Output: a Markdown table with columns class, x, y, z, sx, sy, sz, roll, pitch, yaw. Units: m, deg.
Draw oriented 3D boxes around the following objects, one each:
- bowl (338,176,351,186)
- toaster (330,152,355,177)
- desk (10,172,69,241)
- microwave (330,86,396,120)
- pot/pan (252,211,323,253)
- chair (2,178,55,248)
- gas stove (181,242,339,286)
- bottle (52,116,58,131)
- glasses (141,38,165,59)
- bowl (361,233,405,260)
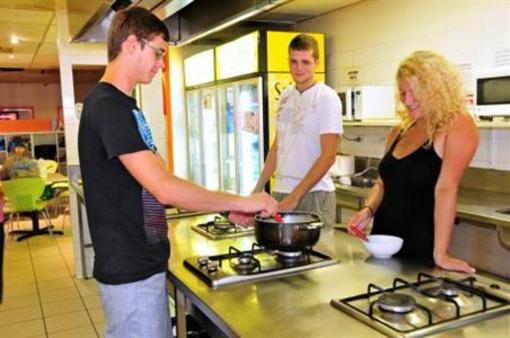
| class | x | y | z | sx | sy | sz | roll | pitch | yaw |
| --- | --- | --- | --- | --- | --- | --- | --- | --- | --- |
| bowl | 1.008 | 0.129 | 4.374 | 0.099 | 0.065 | 0.138 | -1 | 0 | -40 |
| toaster | 1.097 | -0.037 | 4.790 | 0.232 | 0.231 | 0.293 | -2 | 3 | -9 |
| desk | -3.827 | 0.665 | 7.014 | 1.197 | 0.977 | 1.099 | 2 | 6 | 16 |
| microwave | 1.257 | -0.728 | 4.486 | 0.536 | 0.386 | 0.678 | -2 | 4 | -24 |
| pot/pan | 0.182 | 0.320 | 1.954 | 0.229 | 0.107 | 0.351 | -2 | 1 | -35 |
| chair | -3.861 | 0.758 | 6.558 | 0.977 | 1.125 | 0.832 | -5 | 25 | -24 |
| gas stove | 0.020 | 0.478 | 1.941 | 0.438 | 0.053 | 0.305 | -3 | 4 | -32 |
| bottle | -5.344 | -1.185 | 10.271 | 0.120 | 0.326 | 0.405 | -8 | 11 | -31 |
| glasses | -0.510 | -0.581 | 1.895 | 0.092 | 0.025 | 0.087 | 39 | 8 | 9 |
| bowl | 0.684 | 0.417 | 2.078 | 0.223 | 0.079 | 0.212 | -1 | 4 | 0 |
